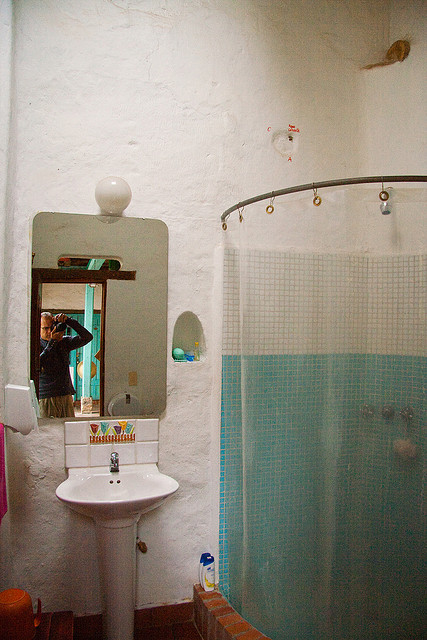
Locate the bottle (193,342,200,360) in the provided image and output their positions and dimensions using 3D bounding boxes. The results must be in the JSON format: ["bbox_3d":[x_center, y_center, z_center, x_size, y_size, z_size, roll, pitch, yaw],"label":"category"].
[{"bbox_3d":[-0.074,0.130,2.967,0.024,0.070,0.019,0,-1,-2],"label":"bottle"}]

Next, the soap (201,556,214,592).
[{"bbox_3d":[-0.023,1.018,2.852,0.054,0.124,0.036,0,-1,-14],"label":"soap"}]

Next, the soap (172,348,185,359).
[{"bbox_3d":[-0.146,0.139,2.934,0.037,0.042,0.045,0,-7,-26],"label":"soap"}]

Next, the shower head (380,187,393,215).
[{"bbox_3d":[0.573,-0.383,2.317,0.033,0.067,0.023,3,8,8],"label":"shower head"}]
